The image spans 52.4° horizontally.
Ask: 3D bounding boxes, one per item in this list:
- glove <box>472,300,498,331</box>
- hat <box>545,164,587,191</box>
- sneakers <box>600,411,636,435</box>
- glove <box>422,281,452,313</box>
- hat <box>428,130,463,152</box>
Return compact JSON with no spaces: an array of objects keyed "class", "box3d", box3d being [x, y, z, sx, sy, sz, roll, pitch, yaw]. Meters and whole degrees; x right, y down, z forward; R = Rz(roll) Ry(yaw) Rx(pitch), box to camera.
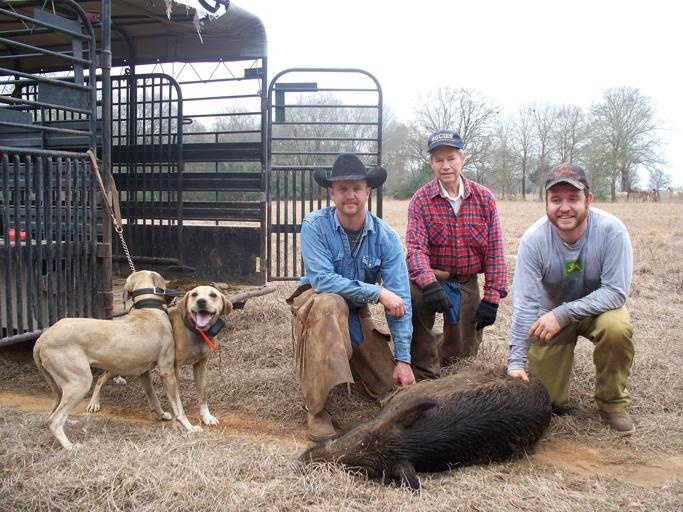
[{"class":"glove","box3d":[1.469,0.612,7.102,0.193,0.284,0.125,14,-11,7]},{"class":"hat","box3d":[2.023,-0.697,6.242,0.359,0.240,0.306,3,13,15]},{"class":"sneakers","box3d":[2.484,1.499,6.276,0.114,0.145,0.300,-10,7,-18]},{"class":"glove","box3d":[0.928,0.406,6.850,0.274,0.312,0.262,2,13,9]},{"class":"hat","box3d":[1.071,-1.181,7.196,0.342,0.240,0.303,1,13,7]}]
